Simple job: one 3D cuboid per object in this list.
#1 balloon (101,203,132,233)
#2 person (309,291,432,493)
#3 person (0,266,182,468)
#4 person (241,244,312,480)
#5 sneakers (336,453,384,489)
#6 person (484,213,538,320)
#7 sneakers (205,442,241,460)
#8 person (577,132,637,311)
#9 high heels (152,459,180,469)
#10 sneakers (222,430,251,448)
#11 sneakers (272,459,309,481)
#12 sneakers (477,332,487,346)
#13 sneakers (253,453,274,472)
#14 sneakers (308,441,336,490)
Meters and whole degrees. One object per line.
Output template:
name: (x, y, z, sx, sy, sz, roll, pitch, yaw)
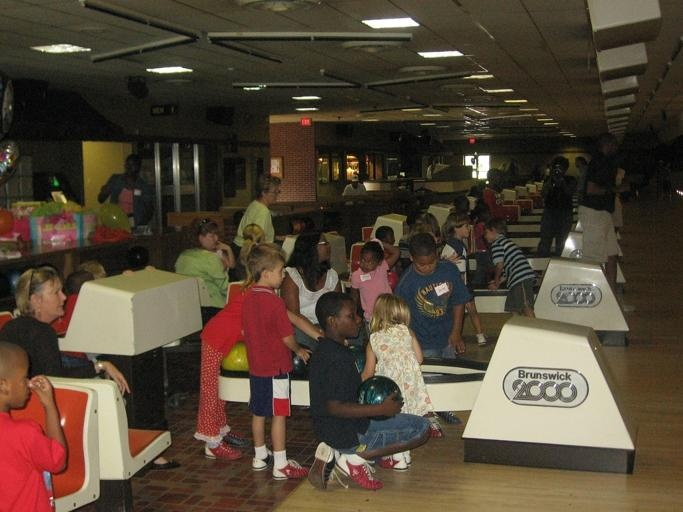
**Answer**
balloon: (-2.718, -0.449, 6.854, 0.322, 0.358, 0.274, -7, 10, -22)
person: (0.132, 0.797, 3.358, 0.656, 1.168, 0.414, -2, 10, 8)
person: (-1.462, 0.395, 3.512, 1.021, 1.027, 0.528, 1, -2, -25)
person: (-0.421, 0.645, 3.618, 0.399, 1.429, 0.459, -5, 10, -5)
sneakers: (0.103, 1.267, 3.381, 0.295, 0.126, 0.104, 31, 6, -6)
person: (1.749, 0.100, 5.927, 0.373, 0.945, 0.680, -6, 9, -10)
sneakers: (-0.805, 1.316, 3.897, 0.228, 0.091, 0.104, 0, 1, 1)
person: (3.193, -0.379, 6.955, 0.573, 2.146, 1.449, 1, 10, 26)
high heels: (-1.155, 1.349, 3.741, 0.142, 0.045, 0.071, 1, -2, -7)
sneakers: (-0.751, 1.305, 4.083, 0.229, 0.081, 0.078, 2, 1, 3)
sneakers: (-0.311, 1.326, 3.581, 0.238, 0.090, 0.093, 0, -1, -13)
sneakers: (1.482, 0.877, 6.058, 0.113, 0.106, 0.268, -3, -12, 8)
sneakers: (-0.503, 1.337, 3.729, 0.065, 0.065, 0.177, 1, 0, 19)
sneakers: (-0.106, 1.217, 3.383, 0.134, 0.309, 0.142, 18, 12, 39)
